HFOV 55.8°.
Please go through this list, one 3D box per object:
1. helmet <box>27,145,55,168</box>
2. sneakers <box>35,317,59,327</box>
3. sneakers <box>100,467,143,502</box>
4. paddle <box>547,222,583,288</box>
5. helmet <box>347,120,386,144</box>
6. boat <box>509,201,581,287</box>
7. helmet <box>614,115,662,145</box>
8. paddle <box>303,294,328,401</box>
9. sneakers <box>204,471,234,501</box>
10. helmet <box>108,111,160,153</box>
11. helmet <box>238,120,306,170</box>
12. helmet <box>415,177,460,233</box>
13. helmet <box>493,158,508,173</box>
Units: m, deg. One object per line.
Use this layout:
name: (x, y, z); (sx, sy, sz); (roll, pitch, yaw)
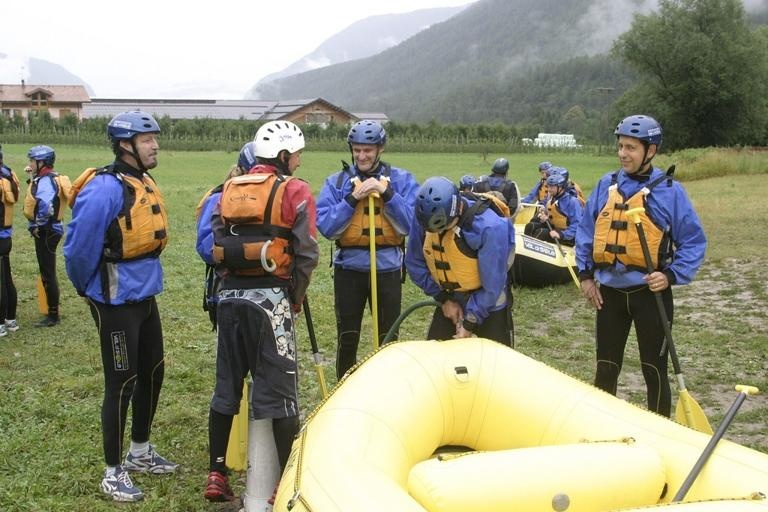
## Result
helmet: (-4.920, -1.483, 10.491); (0.378, 0.371, 0.316); (2, 13, -23)
sneakers: (-4.731, 0.924, 10.248); (0.246, 0.116, 0.197); (-2, 13, 2)
sneakers: (-2.524, 2.201, 7.042); (0.455, 0.234, 0.228); (13, 5, 28)
paddle: (3.000, 0.027, 12.064); (0.141, 1.354, 0.091); (-32, -19, 20)
helmet: (-0.199, -1.389, 8.167); (0.401, 0.275, 0.383); (-3, 13, -4)
boat: (2.894, -0.189, 13.725); (1.170, 0.773, 2.100); (3, 18, 3)
helmet: (2.679, -1.369, 7.696); (0.432, 0.362, 0.338); (-5, 20, -4)
paddle: (-0.872, 1.209, 9.192); (0.140, 1.391, 0.114); (-9, 12, 3)
sneakers: (-1.529, 2.186, 6.787); (0.156, 0.177, 0.377); (-1, -23, 4)
helmet: (-2.461, -1.229, 7.167); (0.430, 0.283, 0.329); (-2, 19, -4)
helmet: (-1.048, -1.106, 7.225); (0.473, 0.393, 0.359); (8, -7, -25)
helmet: (0.514, -0.594, 7.187); (0.392, 0.442, 0.532); (16, 40, 23)
helmet: (2.281, -1.765, 14.317); (0.253, 0.289, 0.332); (15, 34, 28)
